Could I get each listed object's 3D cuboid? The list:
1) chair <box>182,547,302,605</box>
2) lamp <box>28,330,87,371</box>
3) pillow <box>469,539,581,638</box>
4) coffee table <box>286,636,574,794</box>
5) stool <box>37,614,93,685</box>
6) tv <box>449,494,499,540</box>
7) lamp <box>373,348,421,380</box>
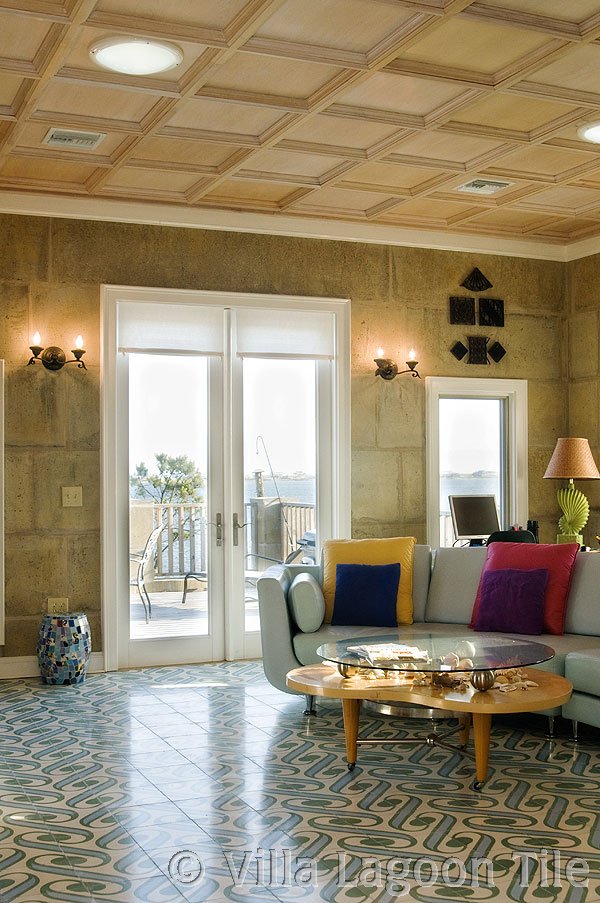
[{"bbox_3d":[-0.445,0.901,5.334,0.750,0.446,0.399,-3,-6,-5],"label":"chair"},{"bbox_3d":[-1.612,-0.654,4.874,0.378,0.235,0.111,3,-10,-23],"label":"lamp"},{"bbox_3d":[1.203,0.732,3.915,0.585,0.480,0.316,-2,-9,11],"label":"pillow"},{"bbox_3d":[0.592,0.870,2.908,0.808,0.359,0.733,0,-1,30],"label":"coffee table"},{"bbox_3d":[-1.487,1.271,4.700,0.410,0.506,0.411,-1,-5,0],"label":"stool"},{"bbox_3d":[1.378,0.522,5.796,0.450,0.351,0.201,6,-11,-35],"label":"tv"},{"bbox_3d":[0.793,-0.686,5.804,0.442,0.242,0.122,3,-10,-22],"label":"lamp"}]
